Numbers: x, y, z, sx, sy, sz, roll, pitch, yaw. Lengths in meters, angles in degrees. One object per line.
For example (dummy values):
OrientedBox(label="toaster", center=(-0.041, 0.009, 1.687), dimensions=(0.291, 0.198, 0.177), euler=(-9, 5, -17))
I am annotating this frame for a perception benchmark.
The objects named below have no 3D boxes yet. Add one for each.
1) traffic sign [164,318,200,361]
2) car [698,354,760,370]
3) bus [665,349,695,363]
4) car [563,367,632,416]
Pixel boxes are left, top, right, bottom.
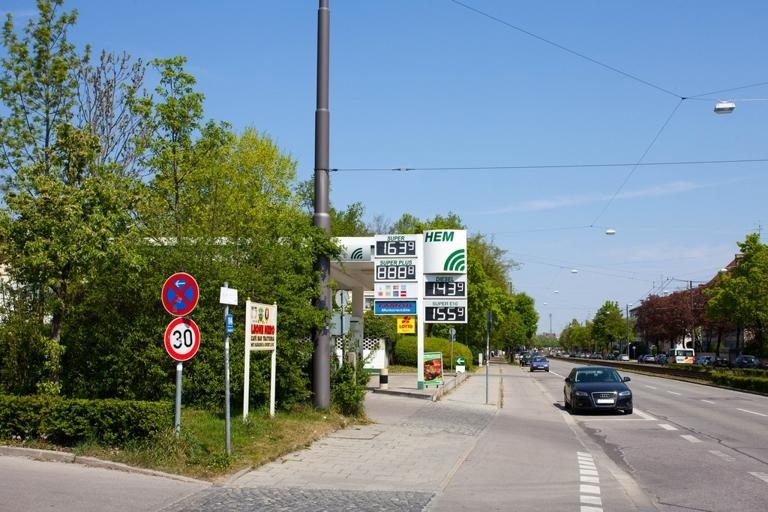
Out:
OrientedBox(label="traffic sign", center=(-4.887, 1.991, 21.244), dimensions=(0.800, 1.052, 0.303), euler=(7, -9, -38))
OrientedBox(label="car", center=(28.507, 8.589, 71.874), dimensions=(2.166, 0.722, 4.007), euler=(2, -5, -12))
OrientedBox(label="bus", center=(29.066, 9.521, 84.520), dimensions=(2.227, 1.741, 3.536), euler=(1, -3, 7))
OrientedBox(label="car", center=(7.987, 4.860, 32.279), dimensions=(2.302, 1.744, 2.372), euler=(-1, -9, 15))
